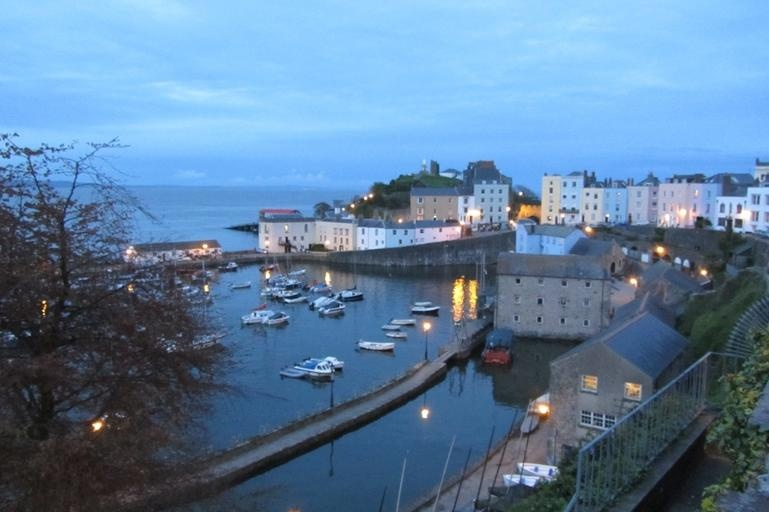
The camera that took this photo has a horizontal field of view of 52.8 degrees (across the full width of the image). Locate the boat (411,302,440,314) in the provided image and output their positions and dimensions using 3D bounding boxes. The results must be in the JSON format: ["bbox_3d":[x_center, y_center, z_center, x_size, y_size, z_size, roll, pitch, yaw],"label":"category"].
[{"bbox_3d":[2.834,3.780,56.471,2.143,0.514,1.967,-1,10,1],"label":"boat"}]

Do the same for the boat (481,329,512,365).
[{"bbox_3d":[6.246,5.222,43.656,1.460,0.961,3.158,1,9,10],"label":"boat"}]
